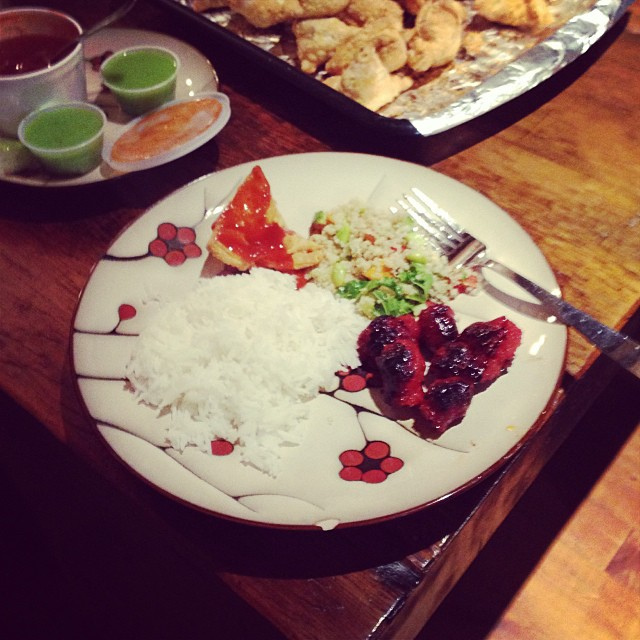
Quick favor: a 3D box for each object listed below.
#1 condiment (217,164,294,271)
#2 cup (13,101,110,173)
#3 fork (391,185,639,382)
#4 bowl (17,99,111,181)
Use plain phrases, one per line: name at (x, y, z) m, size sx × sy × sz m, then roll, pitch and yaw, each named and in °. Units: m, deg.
condiment at (-0.121, -0.186, 1.360) m, size 0.224 × 0.164 × 0.135 m, roll -19°, pitch 47°, yaw -20°
cup at (-0.510, -0.375, 1.406) m, size 0.207 × 0.079 × 0.148 m, roll -7°, pitch 57°, yaw -5°
fork at (0.332, -0.055, 1.244) m, size 0.717 × 0.058 × 0.076 m, roll 30°, pitch 87°, yaw 24°
bowl at (-0.517, -0.366, 1.456) m, size 0.218 × 0.084 × 0.162 m, roll -14°, pitch 62°, yaw -9°
